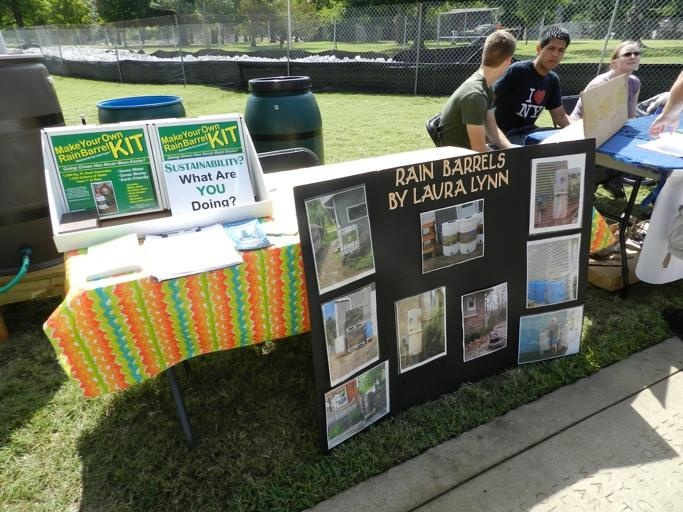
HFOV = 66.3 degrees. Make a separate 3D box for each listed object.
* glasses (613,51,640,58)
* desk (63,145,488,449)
[{"bbox_3d":[2.398,-1.700,4.430,0.182,0.072,0.119,13,33,26],"label":"glasses"},{"bbox_3d":[-0.356,0.238,2.786,1.590,0.352,0.936,-16,27,-19],"label":"desk"}]
